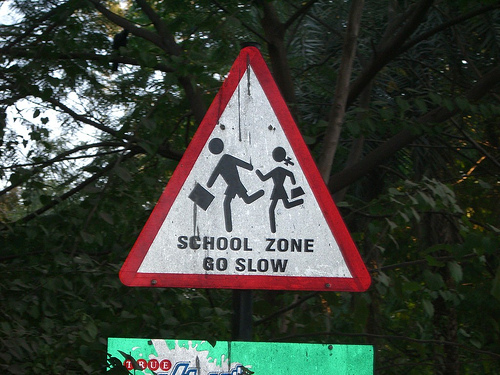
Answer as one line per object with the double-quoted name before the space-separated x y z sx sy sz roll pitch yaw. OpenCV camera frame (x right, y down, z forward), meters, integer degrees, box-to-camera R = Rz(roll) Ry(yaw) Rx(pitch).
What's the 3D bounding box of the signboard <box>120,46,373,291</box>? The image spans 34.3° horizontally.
"signboard" -0.006 -0.106 4.319 1.512 1.288 0.115 0 -4 36
